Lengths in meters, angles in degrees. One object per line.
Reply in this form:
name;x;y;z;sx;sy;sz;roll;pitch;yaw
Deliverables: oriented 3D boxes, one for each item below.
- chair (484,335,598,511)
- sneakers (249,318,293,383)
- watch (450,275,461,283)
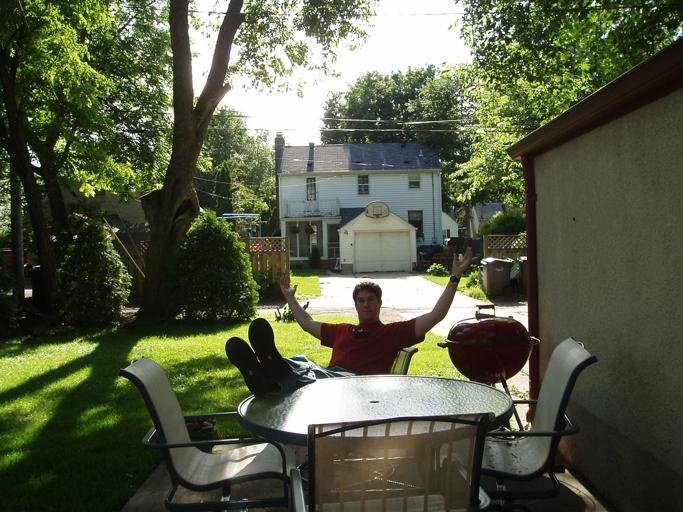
chair;1.336;1.236;3.981;0.670;1.360;1.092;0;4;14
sneakers;-0.534;0.687;4.160;0.188;0.601;0.216;-19;10;-9
watch;0.971;0.197;4.805;0.080;0.066;0.095;10;-8;0
